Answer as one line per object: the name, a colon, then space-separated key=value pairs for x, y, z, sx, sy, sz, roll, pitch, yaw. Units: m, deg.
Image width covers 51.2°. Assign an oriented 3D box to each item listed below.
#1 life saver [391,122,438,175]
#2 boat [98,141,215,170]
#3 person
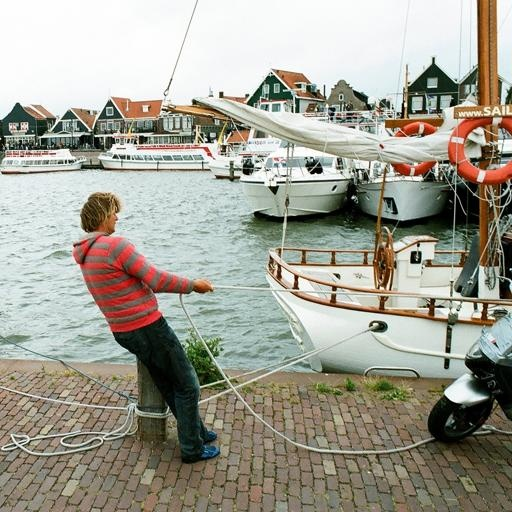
life saver: x=2.257 y=-1.522 z=7.626 sx=0.838 sy=0.707 sz=0.208 roll=4 pitch=5 yaw=9
boat: x=-10.702 y=-13.034 z=68.768 sx=21.021 sy=4.428 sz=4.453 roll=1 pitch=7 yaw=7
person: x=-0.729 y=0.565 z=3.724 sx=1.003 sy=1.993 sz=0.574 roll=0 pitch=8 yaw=-16
